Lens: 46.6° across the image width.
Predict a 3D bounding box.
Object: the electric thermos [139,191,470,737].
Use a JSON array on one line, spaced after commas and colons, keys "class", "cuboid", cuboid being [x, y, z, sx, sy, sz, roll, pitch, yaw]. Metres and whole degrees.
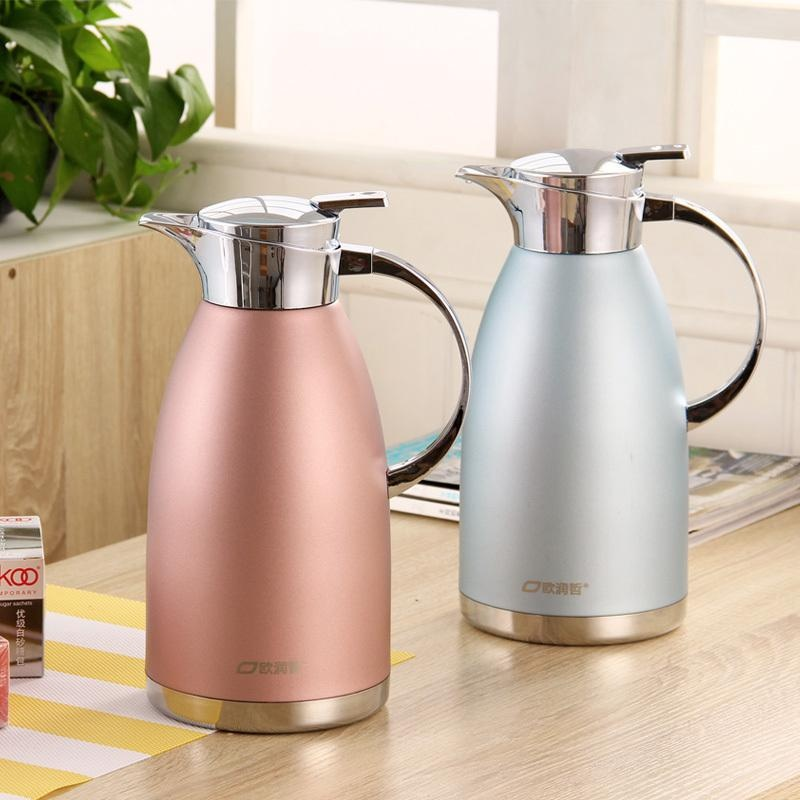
[{"class": "electric thermos", "cuboid": [-0.058, 0.034, 0.393, 0.107, 0.225, 0.049, 1, 8, -6]}]
